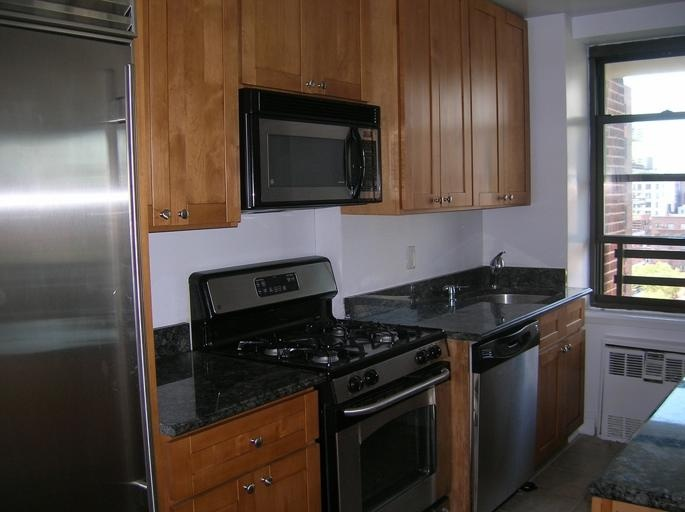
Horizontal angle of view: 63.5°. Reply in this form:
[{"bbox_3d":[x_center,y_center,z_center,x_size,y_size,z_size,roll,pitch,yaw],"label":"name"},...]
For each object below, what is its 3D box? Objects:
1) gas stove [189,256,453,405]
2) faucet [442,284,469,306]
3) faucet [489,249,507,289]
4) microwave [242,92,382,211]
[{"bbox_3d":[-0.116,0.296,2.404,0.626,0.453,0.797,0,4,33],"label":"gas stove"},{"bbox_3d":[0.765,0.251,3.726,0.191,0.140,0.103,-3,5,-20],"label":"faucet"},{"bbox_3d":[1.152,0.102,4.091,0.110,0.292,0.354,2,8,16],"label":"faucet"},{"bbox_3d":[-0.176,-0.450,2.501,0.728,0.475,0.384,-6,6,-38],"label":"microwave"}]
